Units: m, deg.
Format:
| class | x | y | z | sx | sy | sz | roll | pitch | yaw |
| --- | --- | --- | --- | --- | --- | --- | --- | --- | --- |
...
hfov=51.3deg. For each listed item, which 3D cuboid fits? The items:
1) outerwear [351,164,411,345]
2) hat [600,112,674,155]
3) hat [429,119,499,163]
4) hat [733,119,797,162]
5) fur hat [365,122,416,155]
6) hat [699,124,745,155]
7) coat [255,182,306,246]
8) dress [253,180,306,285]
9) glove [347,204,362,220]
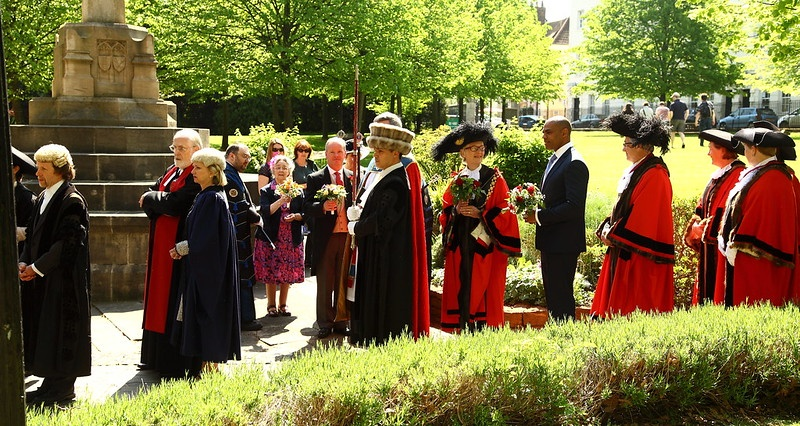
| class | x | y | z | sx | sy | sz | roll | pitch | yaw |
| --- | --- | --- | --- | --- | --- | --- | --- | --- | --- |
| outerwear | -0.280 | 0.626 | 11.910 | 0.907 | 2.536 | 0.449 | -2 | 6 | -3 |
| hat | 3.567 | -1.245 | 12.399 | 0.686 | 0.269 | 0.618 | 25 | 13 | 18 |
| hat | 0.989 | -1.124 | 12.969 | 1.029 | 0.569 | 0.260 | -1 | 6 | 1 |
| hat | 5.302 | -1.063 | 11.986 | 0.757 | 0.321 | 0.627 | 13 | 10 | -23 |
| fur hat | -0.061 | -1.135 | 12.236 | 0.663 | 0.372 | 0.703 | 2 | 0 | -3 |
| hat | 4.731 | -1.084 | 12.247 | 0.503 | 0.123 | 0.472 | 17 | 2 | -18 |
| coat | -2.045 | -0.011 | 14.226 | 0.934 | 0.935 | 0.722 | 4 | 11 | -33 |
| dress | -1.980 | 0.353 | 14.136 | 0.931 | 1.624 | 1.032 | 3 | -4 | -36 |
| glove | -0.672 | 0.004 | 12.007 | 0.214 | 0.202 | 0.196 | 1 | -2 | 1 |
